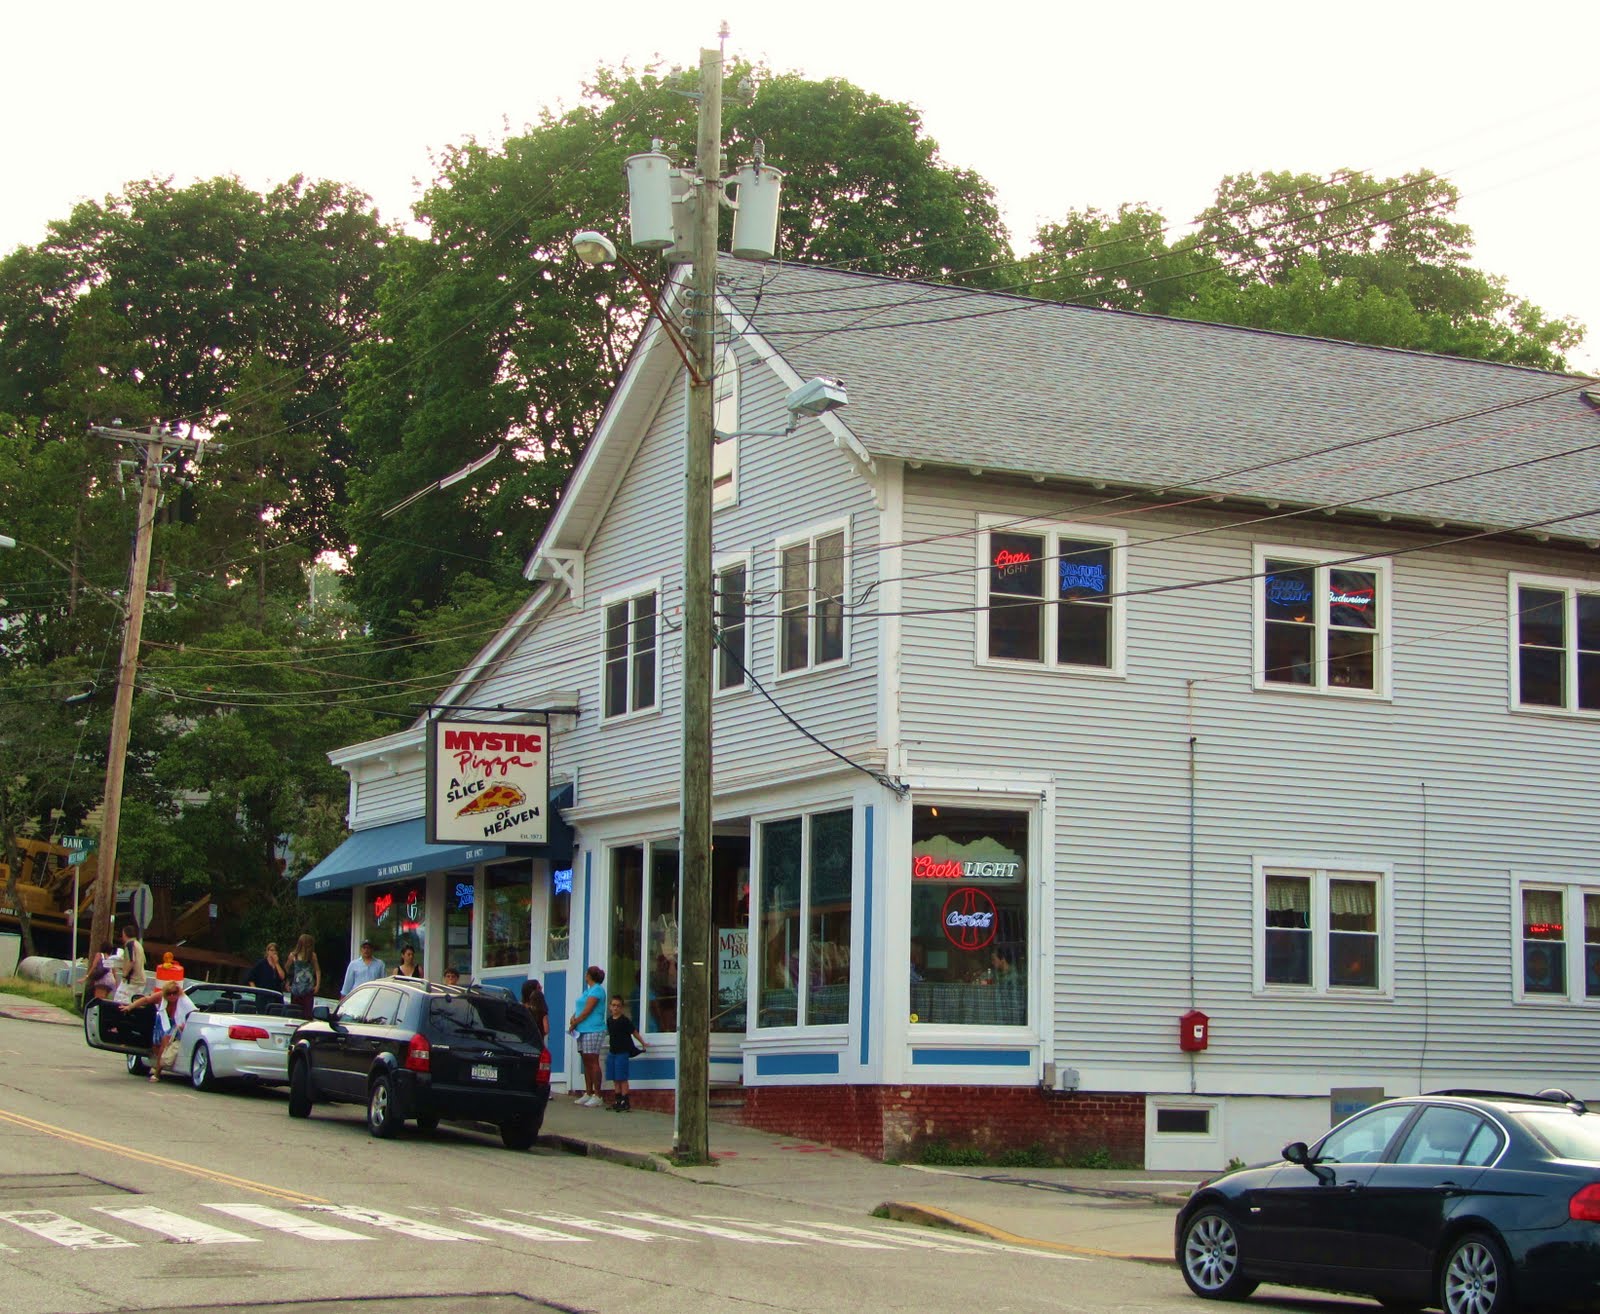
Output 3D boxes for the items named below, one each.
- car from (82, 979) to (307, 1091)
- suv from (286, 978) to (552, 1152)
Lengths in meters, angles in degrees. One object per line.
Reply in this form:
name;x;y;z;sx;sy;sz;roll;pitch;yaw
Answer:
car;-8.356;5.332;35.727;1.785;0.731;2.466;7;-1;-37
suv;-4.641;5.109;31.731;4.100;1.965;2.994;-8;-17;44
